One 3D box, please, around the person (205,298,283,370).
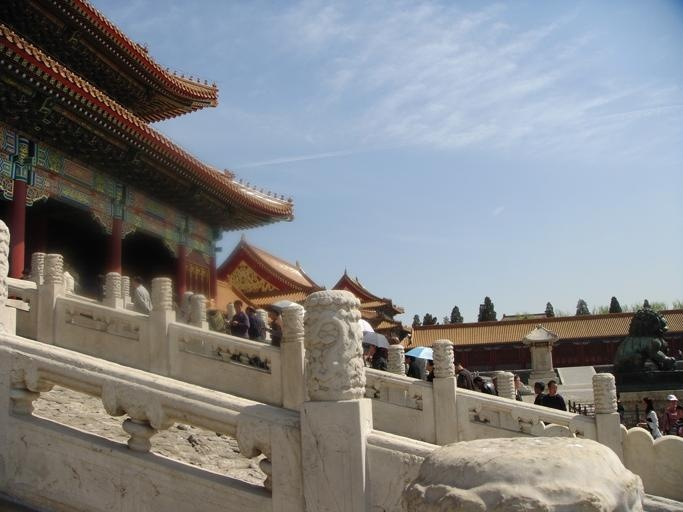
[{"bbox_3d":[-1.901,1.410,18.576,1.198,1.202,1.192,-6,-10,33],"label":"person"}]
